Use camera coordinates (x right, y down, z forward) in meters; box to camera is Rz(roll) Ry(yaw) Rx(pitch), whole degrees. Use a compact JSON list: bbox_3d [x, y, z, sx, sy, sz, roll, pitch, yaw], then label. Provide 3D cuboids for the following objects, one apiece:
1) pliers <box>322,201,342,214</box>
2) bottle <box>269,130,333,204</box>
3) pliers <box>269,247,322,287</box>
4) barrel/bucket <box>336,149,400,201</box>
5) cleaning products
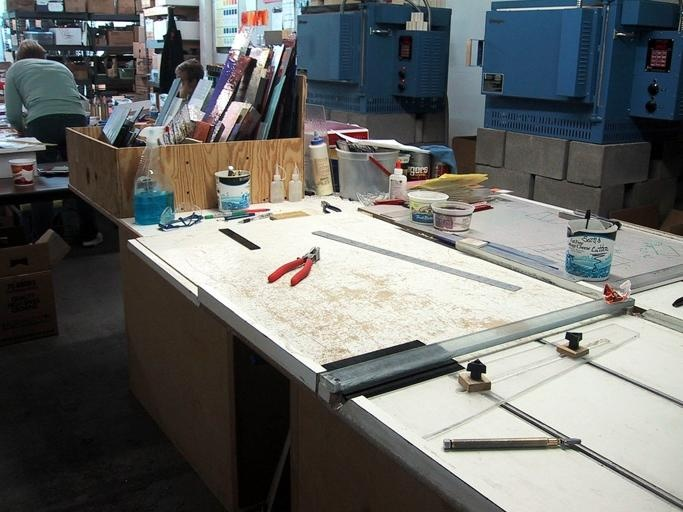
[{"bbox_3d":[-0.048,-0.195,1.964,0.034,0.047,0.113,-19,18,-31],"label":"pliers"},{"bbox_3d":[-0.158,-0.388,2.125,0.175,0.272,0.321,11,21,30],"label":"bottle"},{"bbox_3d":[-0.125,0.025,1.389,0.093,0.051,0.216,8,19,22],"label":"pliers"},{"bbox_3d":[0.109,-0.376,2.163,0.260,0.206,0.261,0,20,0],"label":"barrel/bucket"},{"bbox_3d":[-0.711,-0.296,1.850,0.153,0.365,0.150,-1,4,9],"label":"cleaning products"}]
